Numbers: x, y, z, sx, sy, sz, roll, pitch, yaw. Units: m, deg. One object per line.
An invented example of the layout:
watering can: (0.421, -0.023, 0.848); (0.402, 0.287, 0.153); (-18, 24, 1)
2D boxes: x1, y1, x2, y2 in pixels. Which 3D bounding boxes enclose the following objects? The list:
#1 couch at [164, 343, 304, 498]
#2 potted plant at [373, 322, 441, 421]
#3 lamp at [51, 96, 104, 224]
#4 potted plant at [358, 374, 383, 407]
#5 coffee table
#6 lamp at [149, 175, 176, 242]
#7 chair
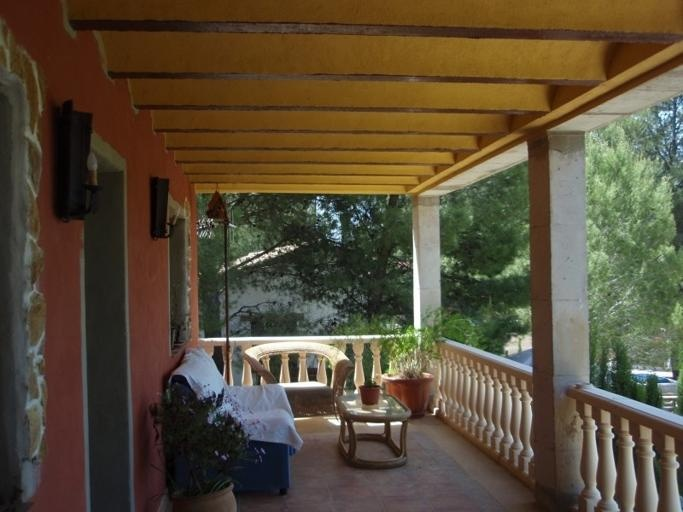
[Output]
couch: (-0.878, 1.407, 5.793); (0.938, 1.138, 1.574); (-5, -1, -8)
potted plant: (0.804, 1.334, 7.588); (0.794, 1.299, 0.840); (0, -6, 6)
lamp: (-1.297, -0.462, 3.240); (0.209, 0.573, 0.151); (-4, 3, -25)
potted plant: (0.277, 1.215, 5.951); (0.170, 0.151, 0.185); (-2, 9, -14)
coffee table: (0.286, 1.585, 6.088); (0.568, 0.496, 0.989); (1, 0, -5)
lamp: (-1.352, -0.357, 5.004); (0.150, 0.459, 0.435); (-3, 3, -12)
chair: (-0.450, 1.399, 7.301); (1.041, 0.782, 1.107); (-1, 0, -15)
